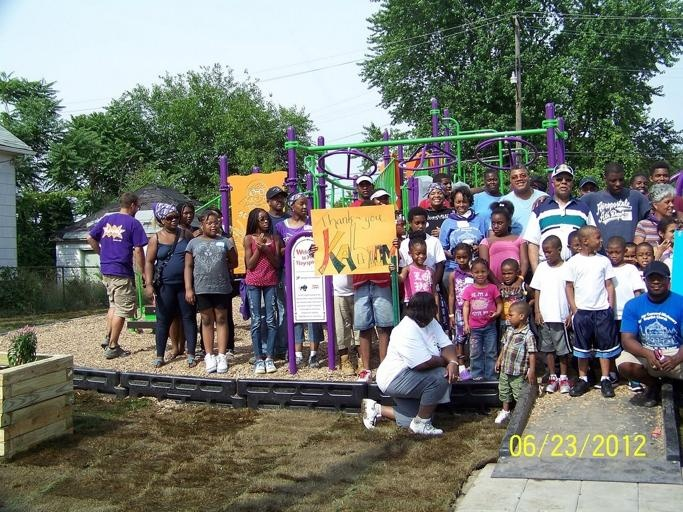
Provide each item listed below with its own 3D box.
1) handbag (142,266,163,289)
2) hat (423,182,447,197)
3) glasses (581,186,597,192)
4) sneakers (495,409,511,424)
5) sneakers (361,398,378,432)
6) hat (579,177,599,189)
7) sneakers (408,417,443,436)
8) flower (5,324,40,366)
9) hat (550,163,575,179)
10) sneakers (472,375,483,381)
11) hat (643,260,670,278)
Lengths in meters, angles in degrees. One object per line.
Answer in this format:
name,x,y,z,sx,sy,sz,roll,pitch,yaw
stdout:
handbag,-2.548,0.276,9.742,0.261,0.376,0.204,7,-7,-5
hat,1.286,-0.904,9.694,0.169,0.116,0.208,5,-12,9
glasses,3.245,-0.886,9.415,0.109,0.078,0.177,0,-1,7
sneakers,1.751,1.741,7.819,0.093,0.092,0.208,19,14,34
sneakers,0.339,1.727,7.875,0.206,0.292,0.244,-6,14,-2
hat,3.313,-0.964,9.430,0.223,0.165,0.372,1,7,14
sneakers,0.890,1.802,7.615,0.367,0.173,0.146,2,-2,2
flower,-3.454,0.987,7.847,0.372,0.514,0.372,1,-3,-18
hat,2.652,-1.060,8.691,0.281,0.192,0.389,0,-7,6
sneakers,1.628,1.441,8.486,0.051,0.060,0.139,1,-11,-5
hat,3.331,0.138,7.549,0.308,0.183,0.184,-15,17,-35
